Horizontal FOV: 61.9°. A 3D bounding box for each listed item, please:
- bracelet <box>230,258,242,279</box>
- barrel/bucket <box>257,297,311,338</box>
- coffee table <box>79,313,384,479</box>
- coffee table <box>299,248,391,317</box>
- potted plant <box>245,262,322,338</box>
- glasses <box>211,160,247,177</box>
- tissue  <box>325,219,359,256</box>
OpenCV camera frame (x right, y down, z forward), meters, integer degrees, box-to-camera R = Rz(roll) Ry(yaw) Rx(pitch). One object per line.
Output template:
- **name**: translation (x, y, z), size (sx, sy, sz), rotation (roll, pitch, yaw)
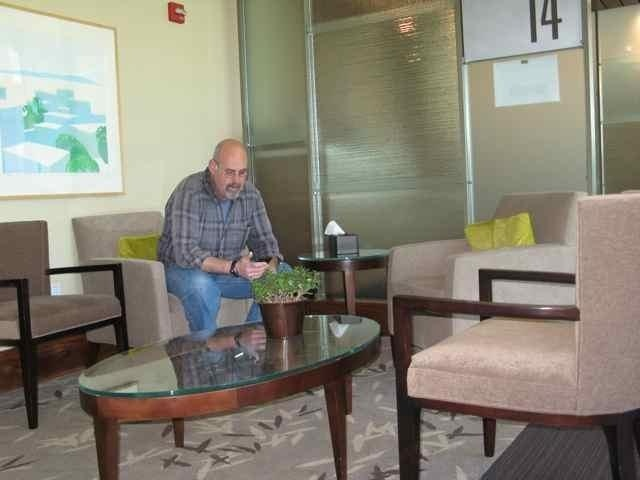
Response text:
- **bracelet**: translation (-0.453, 0.148, 2.798), size (0.070, 0.092, 0.039), rotation (-2, -8, 36)
- **barrel/bucket**: translation (-0.168, 0.367, 2.183), size (0.211, 0.148, 0.213), rotation (-4, -38, -3)
- **coffee table**: translation (-0.281, 0.683, 2.040), size (1.108, 0.554, 0.607), rotation (-8, 9, -27)
- **coffee table**: translation (0.271, 0.309, 3.473), size (0.366, 0.374, 0.353), rotation (-8, 1, -26)
- **potted plant**: translation (-0.135, 0.256, 2.201), size (0.279, 0.255, 0.292), rotation (-1, 2, 24)
- **glasses**: translation (-0.519, -0.402, 3.044), size (0.176, 0.097, 0.089), rotation (-3, 8, 8)
- **tissue **: translation (0.159, -0.004, 3.629), size (0.210, 0.212, 0.247), rotation (-2, 1, -13)
